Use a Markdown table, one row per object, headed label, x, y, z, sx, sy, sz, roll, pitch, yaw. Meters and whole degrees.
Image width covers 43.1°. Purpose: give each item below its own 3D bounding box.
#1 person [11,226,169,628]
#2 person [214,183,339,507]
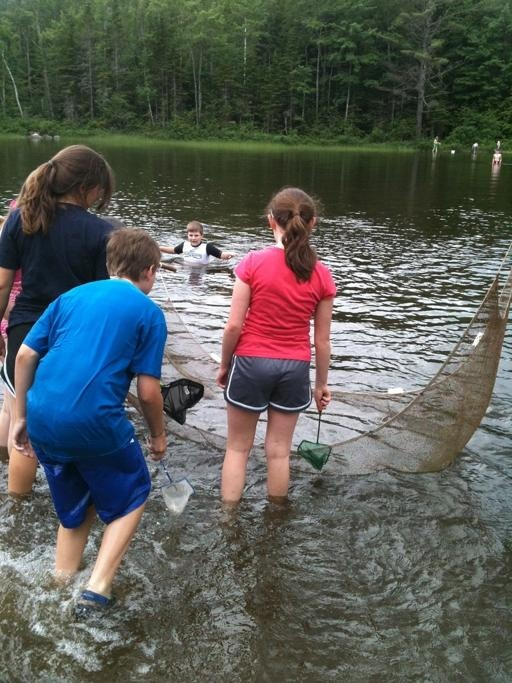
| label | x | y | z | sx | sy | sz | roll | pitch | yaw |
| --- | --- | --- | --- | --- | --- | --- | --- | --- | --- |
| person | -0.734 | 0.412 | 2.740 | 0.646 | 1.340 | 0.479 | 4 | 17 | -4 |
| person | 0.117 | 0.081 | 3.491 | 0.609 | 1.770 | 0.364 | 3 | 18 | -6 |
